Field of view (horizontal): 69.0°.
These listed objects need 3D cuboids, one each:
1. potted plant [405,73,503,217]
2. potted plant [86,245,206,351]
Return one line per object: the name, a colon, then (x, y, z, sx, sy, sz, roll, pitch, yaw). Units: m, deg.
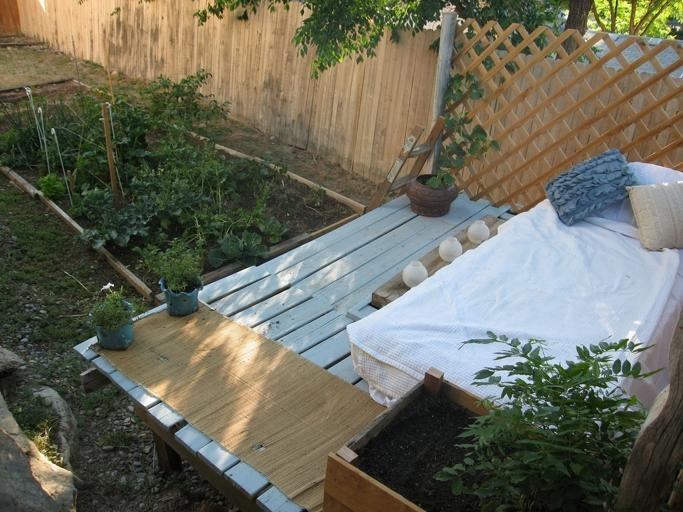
potted plant: (1.062, -0.931, 4.771, 0.598, 1.222, 0.731, 14, 2, -29)
potted plant: (-1.321, 0.295, 3.378, 0.299, 0.350, 0.604, 31, 49, 19)
